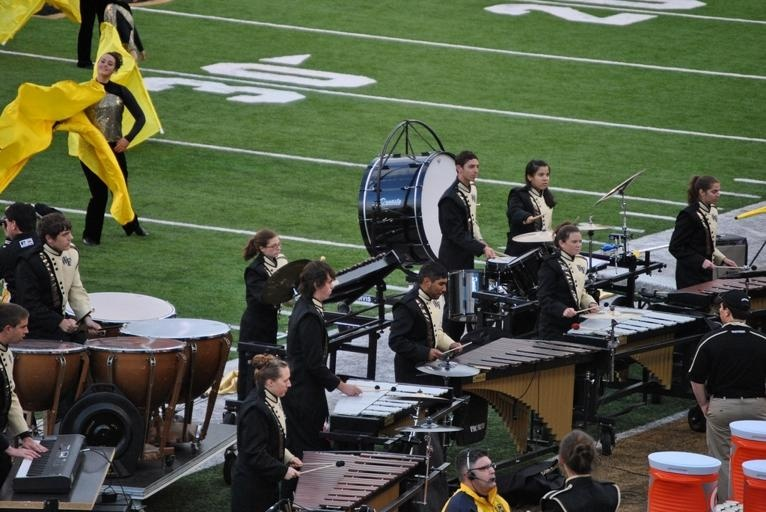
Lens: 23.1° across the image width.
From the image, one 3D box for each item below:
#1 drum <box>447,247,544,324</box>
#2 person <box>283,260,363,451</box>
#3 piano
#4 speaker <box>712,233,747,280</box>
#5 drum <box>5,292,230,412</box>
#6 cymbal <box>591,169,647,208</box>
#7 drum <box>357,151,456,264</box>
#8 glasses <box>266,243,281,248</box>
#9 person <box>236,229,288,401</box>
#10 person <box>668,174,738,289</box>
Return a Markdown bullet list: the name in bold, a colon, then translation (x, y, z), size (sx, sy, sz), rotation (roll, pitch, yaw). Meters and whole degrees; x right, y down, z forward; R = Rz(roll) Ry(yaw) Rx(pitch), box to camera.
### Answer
- **drum**: translation (1.552, 0.474, 27.453), size (1.381, 0.710, 1.025), rotation (3, 3, 20)
- **person**: translation (-0.889, 1.314, 25.148), size (1.112, 2.434, 1.015), rotation (20, 0, -5)
- **piano**: translation (-4.200, 2.579, 23.614), size (0.776, 0.214, 1.017), rotation (-1, 25, 7)
- **speaker**: translation (5.528, 0.090, 29.376), size (0.379, 0.454, 0.349), rotation (4, 32, 35)
- **drum**: translation (-3.288, 1.630, 25.537), size (1.845, 2.213, 1.651), rotation (1, 2, -20)
- **cymbal**: translation (4.178, -1.186, 33.411), size (0.915, 0.200, 0.886), rotation (-23, -10, -46)
- **drum**: translation (0.154, -0.634, 29.146), size (1.160, 1.368, 1.520), rotation (0, -3, 5)
- **glasses**: translation (-1.520, -0.159, 26.031), size (0.077, 0.088, 0.189), rotation (7, 6, 40)
- **person**: translation (-1.563, 0.896, 26.213), size (0.939, 2.355, 0.799), rotation (5, 13, 23)
- **person**: translation (4.758, -0.362, 28.179), size (0.829, 1.698, 0.610), rotation (3, 5, -1)
